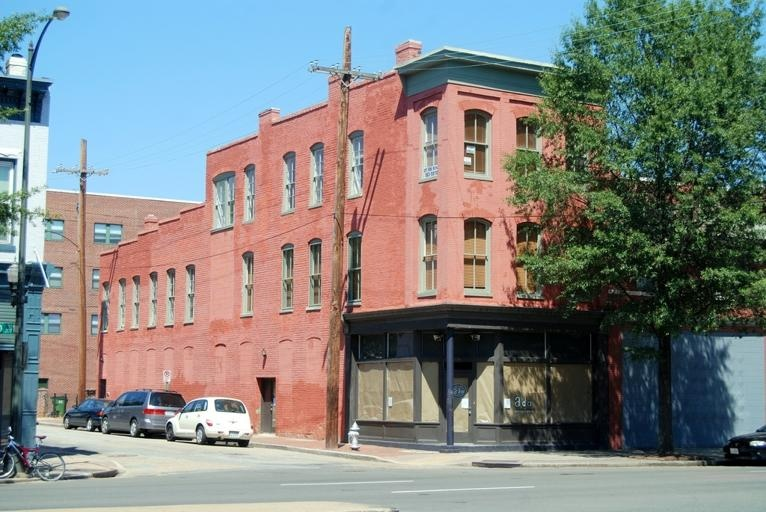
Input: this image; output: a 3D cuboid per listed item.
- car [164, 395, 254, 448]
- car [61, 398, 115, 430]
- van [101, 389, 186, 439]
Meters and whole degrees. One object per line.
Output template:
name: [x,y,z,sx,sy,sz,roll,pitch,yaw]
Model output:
car: [-7.404,6.950,51.262,3.516,1.993,1.319,-1,0,34]
car: [-14.293,7.814,59.580,1.381,0.971,2.963,5,-5,-33]
van: [-11.168,7.259,55.995,1.896,1.517,4.044,5,-5,-32]
